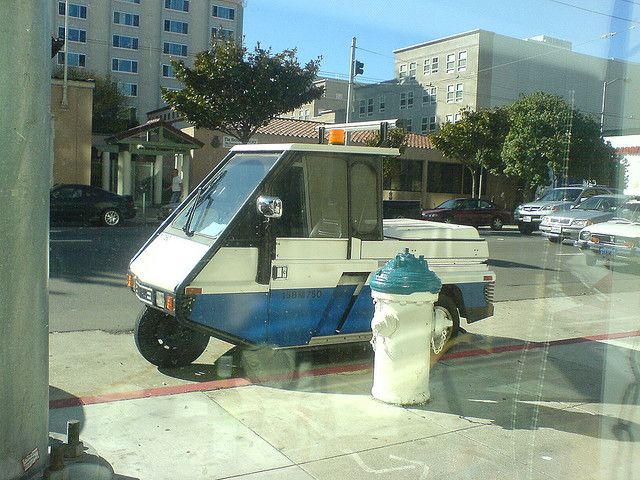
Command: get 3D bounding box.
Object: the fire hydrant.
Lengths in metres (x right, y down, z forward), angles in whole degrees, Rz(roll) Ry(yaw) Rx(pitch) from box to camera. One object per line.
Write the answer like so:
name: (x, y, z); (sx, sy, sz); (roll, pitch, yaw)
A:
fire hydrant: (0.774, 0.832, 7.304); (0.650, 1.347, 0.424); (2, 9, 2)

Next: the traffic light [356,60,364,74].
traffic light: (1.561, -6.821, 31.133); (0.299, 0.485, 0.513); (1, 9, -8)

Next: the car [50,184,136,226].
car: (-6.243, -0.974, 22.002); (2.322, 0.811, 0.963); (2, -1, -26)
